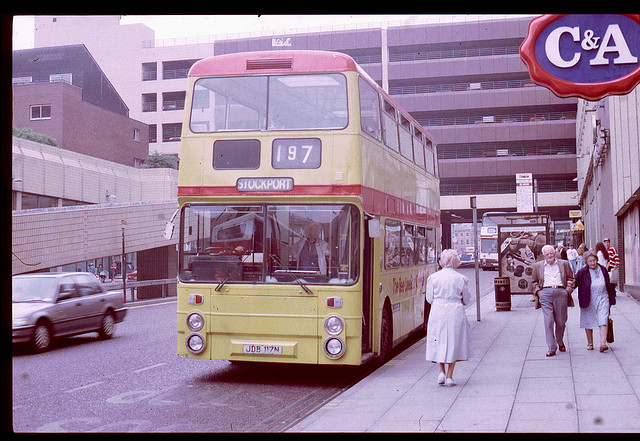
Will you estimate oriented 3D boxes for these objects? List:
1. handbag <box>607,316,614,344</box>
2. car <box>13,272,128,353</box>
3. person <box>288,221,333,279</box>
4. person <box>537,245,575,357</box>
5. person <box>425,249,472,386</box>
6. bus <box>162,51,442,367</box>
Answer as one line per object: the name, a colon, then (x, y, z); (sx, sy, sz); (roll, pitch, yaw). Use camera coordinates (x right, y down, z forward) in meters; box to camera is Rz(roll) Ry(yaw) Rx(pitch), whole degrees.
handbag: (5.945, 2.226, 12.496); (0.103, 0.533, 0.429); (-2, -5, 22)
car: (-6.391, 2.185, 14.936); (1.007, 1.875, 3.312); (-2, -5, 19)
person: (-0.130, 0.511, 10.305); (0.889, 1.478, 0.428); (0, -4, 3)
person: (4.855, 1.631, 12.502); (0.705, 2.222, 1.190); (-2, -5, 22)
person: (2.146, 1.405, 10.172); (0.707, 1.816, 0.311); (-1, -5, 10)
bus: (0.622, 0.051, 15.656); (3.323, 5.969, 11.284); (0, -3, 17)
